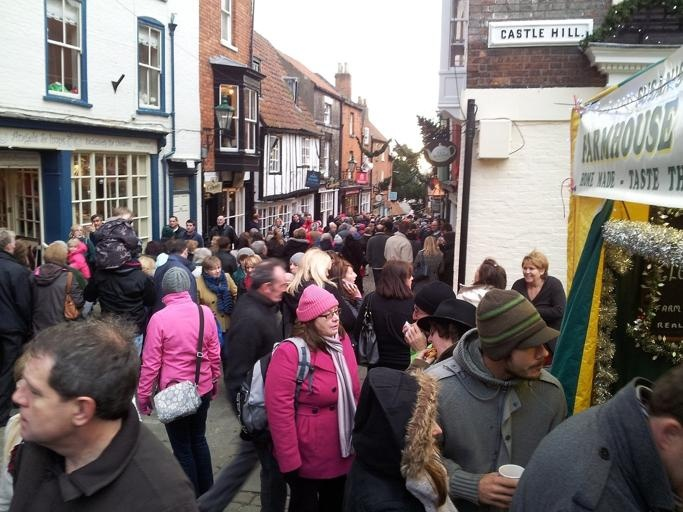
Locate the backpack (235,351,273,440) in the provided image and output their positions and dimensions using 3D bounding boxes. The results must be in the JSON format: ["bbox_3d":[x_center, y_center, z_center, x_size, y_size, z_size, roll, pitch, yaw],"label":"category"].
[{"bbox_3d":[-0.634,0.969,4.200,0.306,0.590,0.136,4,8,32],"label":"backpack"}]

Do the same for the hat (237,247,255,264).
[{"bbox_3d":[-1.345,-0.017,8.331,0.241,0.206,0.378,-3,-16,-6],"label":"hat"}]

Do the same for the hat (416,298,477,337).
[{"bbox_3d":[0.725,0.389,3.975,0.261,0.103,0.235,13,-8,3],"label":"hat"}]

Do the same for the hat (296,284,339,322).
[{"bbox_3d":[-0.177,0.322,4.126,0.245,0.180,0.238,-13,7,32],"label":"hat"}]

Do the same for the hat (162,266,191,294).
[{"bbox_3d":[-1.412,0.192,5.150,0.201,0.246,0.232,8,8,30],"label":"hat"}]

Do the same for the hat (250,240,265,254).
[{"bbox_3d":[-1.315,-0.153,9.492,0.179,0.223,0.221,13,-38,8],"label":"hat"}]

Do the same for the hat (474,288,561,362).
[{"bbox_3d":[0.903,0.344,3.121,0.399,0.313,0.294,-11,11,15],"label":"hat"}]

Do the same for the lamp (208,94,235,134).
[{"bbox_3d":[-2.934,-3.638,15.048,0.555,0.935,0.605,-2,9,-31],"label":"lamp"}]

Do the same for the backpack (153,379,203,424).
[{"bbox_3d":[-1.331,1.188,4.906,0.289,0.270,0.108,-22,-17,-11],"label":"backpack"}]

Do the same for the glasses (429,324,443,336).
[{"bbox_3d":[0.636,0.496,3.996,0.068,0.066,0.054,-2,-1,-15],"label":"glasses"}]
